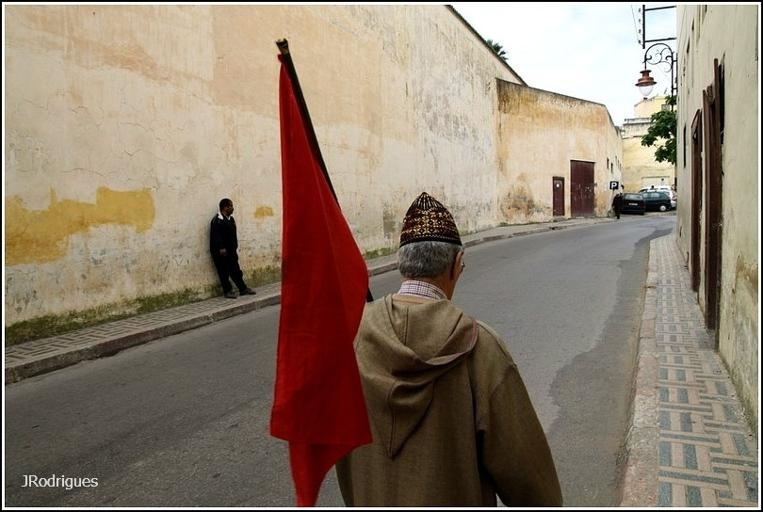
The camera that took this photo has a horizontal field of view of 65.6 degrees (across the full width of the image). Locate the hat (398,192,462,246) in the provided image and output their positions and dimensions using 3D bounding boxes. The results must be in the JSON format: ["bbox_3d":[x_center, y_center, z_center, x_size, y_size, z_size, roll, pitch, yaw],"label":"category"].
[{"bbox_3d":[0.352,-0.273,4.118,0.306,0.302,0.383,-1,7,11],"label":"hat"}]

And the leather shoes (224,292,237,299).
[{"bbox_3d":[-2.778,0.717,10.976,0.202,0.091,0.106,-6,6,-28],"label":"leather shoes"}]

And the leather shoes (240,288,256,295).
[{"bbox_3d":[-2.525,0.689,11.247,0.275,0.146,0.117,-5,8,-17],"label":"leather shoes"}]

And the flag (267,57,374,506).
[{"bbox_3d":[-0.420,0.158,3.890,0.638,2.866,0.675,-3,12,-2],"label":"flag"}]

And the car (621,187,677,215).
[{"bbox_3d":[17.222,-3.379,38.533,3.625,1.438,1.711,-9,15,-25],"label":"car"}]

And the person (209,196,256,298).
[{"bbox_3d":[-2.823,-0.120,10.921,0.620,1.793,0.450,-7,13,-19],"label":"person"}]

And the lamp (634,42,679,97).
[{"bbox_3d":[7.244,-4.954,15.777,0.925,1.605,0.509,3,-12,29],"label":"lamp"}]
